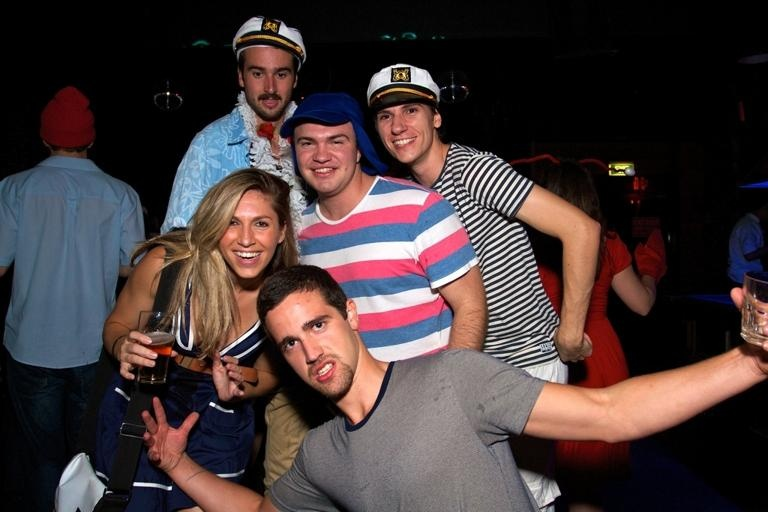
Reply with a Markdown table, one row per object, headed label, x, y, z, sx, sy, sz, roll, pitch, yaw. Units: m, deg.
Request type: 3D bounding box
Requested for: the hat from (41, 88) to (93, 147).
| label | x | y | z | sx | sy | sz | roll | pitch | yaw |
| --- | --- | --- | --- | --- | --- | --- | --- | --- | --- |
| hat | -2.458 | -1.048 | 4.348 | 0.346 | 0.332 | 0.505 | 18 | 23 | 25 |
